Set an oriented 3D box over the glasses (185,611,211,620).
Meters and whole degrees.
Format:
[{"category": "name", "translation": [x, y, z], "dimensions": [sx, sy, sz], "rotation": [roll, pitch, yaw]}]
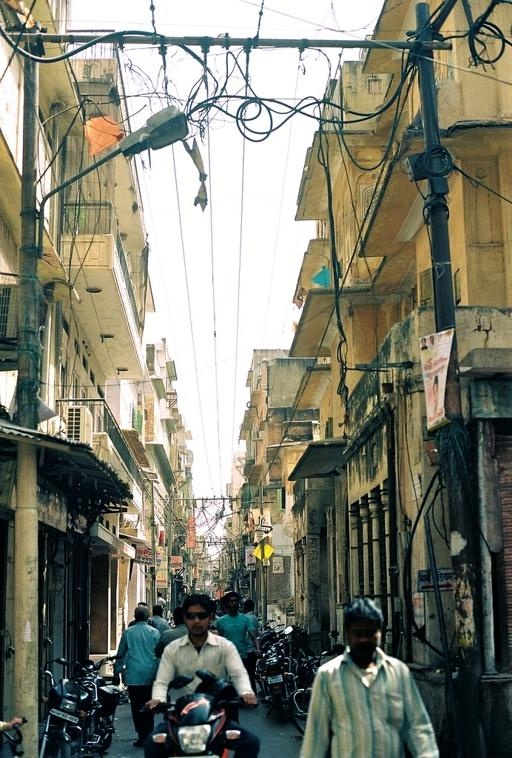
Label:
[{"category": "glasses", "translation": [-0.344, 1.382, 5.713], "dimensions": [0.141, 0.054, 0.115], "rotation": [-7, -20, 0]}]
